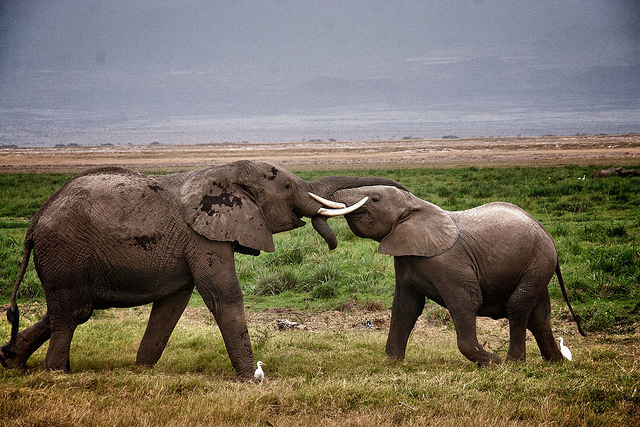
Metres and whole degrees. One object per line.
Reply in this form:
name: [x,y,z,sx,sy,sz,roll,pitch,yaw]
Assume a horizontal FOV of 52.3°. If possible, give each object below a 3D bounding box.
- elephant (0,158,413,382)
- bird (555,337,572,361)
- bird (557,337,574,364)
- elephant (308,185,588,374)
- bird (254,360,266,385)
elephant: [-1.342,0.730,13.641,9.158,5.153,2.763,-3,0,-11]
bird: [4.419,2.370,11.832,0.223,0.211,0.540,12,52,-11]
bird: [4.539,2.399,11.972,0.242,0.473,0.859,5,11,21]
elephant: [2.221,1.101,12.277,5.159,3.336,1.848,4,-1,5]
bird: [-0.974,2.715,11.111,0.153,0.395,0.339,4,14,18]
